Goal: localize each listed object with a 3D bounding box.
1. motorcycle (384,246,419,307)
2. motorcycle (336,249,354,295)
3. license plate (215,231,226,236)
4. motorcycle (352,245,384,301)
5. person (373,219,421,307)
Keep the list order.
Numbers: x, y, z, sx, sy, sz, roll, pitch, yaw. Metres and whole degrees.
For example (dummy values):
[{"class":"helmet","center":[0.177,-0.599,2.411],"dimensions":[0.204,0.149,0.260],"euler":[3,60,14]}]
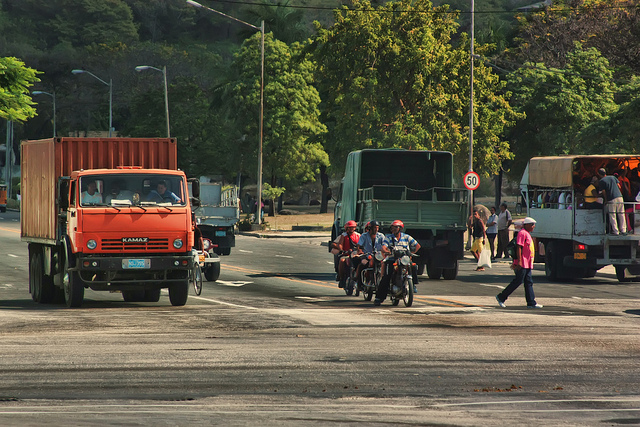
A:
[{"class":"motorcycle","center":[2.234,1.823,36.087],"dimensions":[0.746,1.621,0.482],"euler":[1,8,11]},{"class":"motorcycle","center":[0.787,1.725,38.202],"dimensions":[0.347,1.449,0.950],"euler":[-1,8,-10]},{"class":"license plate","center":[-3.718,0.725,48.257],"dimensions":[0.515,0.217,0.174],"euler":[-8,11,-44]},{"class":"motorcycle","center":[1.383,1.747,37.109],"dimensions":[0.510,1.654,1.935],"euler":[-2,8,-11]},{"class":"person","center":[2.217,1.436,36.625],"dimensions":[0.878,2.348,1.370],"euler":[0,0,10]}]
